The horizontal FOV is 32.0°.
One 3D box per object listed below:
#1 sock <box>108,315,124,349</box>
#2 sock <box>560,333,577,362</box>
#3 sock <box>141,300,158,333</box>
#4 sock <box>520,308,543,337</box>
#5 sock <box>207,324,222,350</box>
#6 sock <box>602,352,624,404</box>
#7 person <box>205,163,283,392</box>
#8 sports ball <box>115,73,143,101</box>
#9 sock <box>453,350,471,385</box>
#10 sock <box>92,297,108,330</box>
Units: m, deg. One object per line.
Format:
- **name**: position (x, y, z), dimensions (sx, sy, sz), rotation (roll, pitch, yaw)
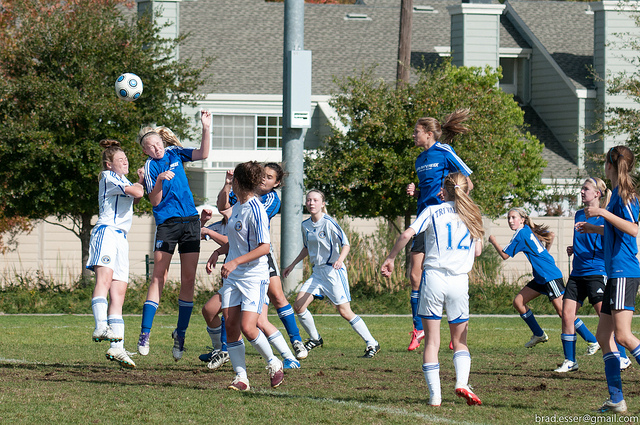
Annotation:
- **sock**: position (-3.691, 2.051, 20.136), dimensions (0.252, 0.514, 0.741), rotation (3, 7, -22)
- **sock**: position (4.729, 2.548, 21.087), dimensions (0.238, 0.536, 0.434), rotation (-1, -1, 10)
- **sock**: position (-3.109, 1.912, 20.687), dimensions (0.297, 0.564, 0.366), rotation (-1, 0, -10)
- **sock**: position (4.302, 2.207, 22.390), dimensions (0.392, 0.550, 0.539), rotation (-2, -1, 21)
- **sock**: position (-1.911, 2.323, 20.809), dimensions (0.247, 0.444, 0.292), rotation (-1, 0, -2)
- **sock**: position (4.967, 2.781, 18.824), dimensions (0.280, 0.865, 0.409), rotation (-1, 0, 8)
- **person**: position (-1.216, 1.131, 19.678), dimensions (0.979, 3.796, 1.340), rotation (-1, 0, -6)
- **sports ball**: position (-3.711, -2.491, 22.216), dimensions (0.507, 0.530, 0.550), rotation (3, 6, 0)
- **sock**: position (2.444, 2.645, 19.028), dimensions (0.260, 0.755, 0.262), rotation (-8, -45, 10)
- **sock**: position (-3.920, 1.813, 20.142), dimensions (0.259, 0.536, 0.414), rotation (-1, -1, -12)
